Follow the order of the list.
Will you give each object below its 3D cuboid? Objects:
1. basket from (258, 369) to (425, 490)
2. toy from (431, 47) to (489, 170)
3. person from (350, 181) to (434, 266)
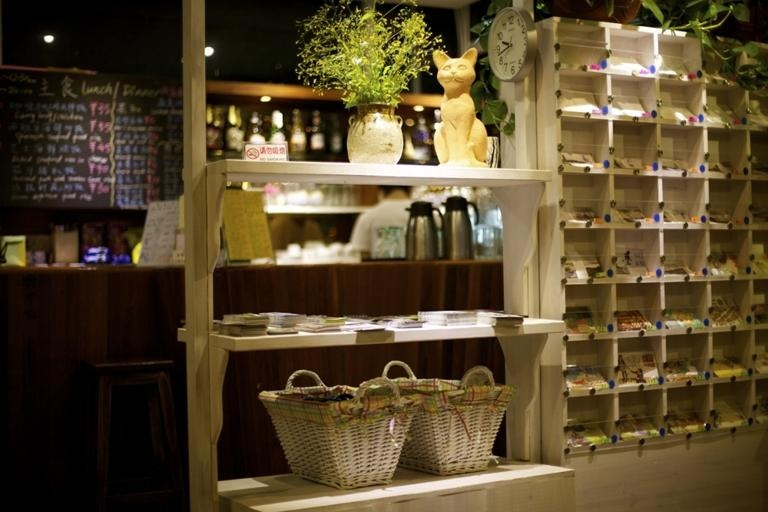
[{"bbox_3d":[-0.216,0.839,3.367,0.528,0.518,0.696,0,-1,-33],"label":"basket"},{"bbox_3d":[0.397,-0.772,3.623,0.275,0.624,0.236,-2,0,4],"label":"toy"},{"bbox_3d":[0.044,-0.239,5.492,0.568,0.844,0.308,6,10,25],"label":"person"}]
